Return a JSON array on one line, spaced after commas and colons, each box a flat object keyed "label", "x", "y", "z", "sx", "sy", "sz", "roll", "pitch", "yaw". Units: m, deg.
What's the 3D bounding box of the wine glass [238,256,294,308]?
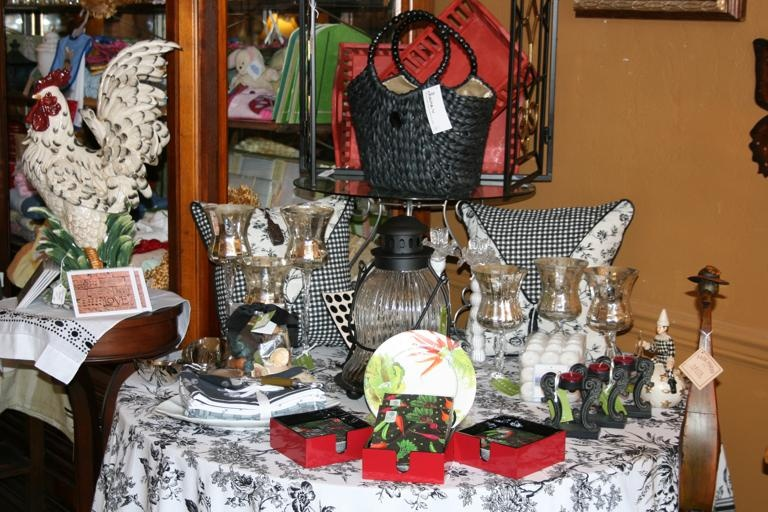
[{"label": "wine glass", "x": -0.371, "y": 0.072, "z": 2.446, "sx": 0.143, "sy": 0.130, "sz": 0.142, "roll": 3, "pitch": 1, "yaw": 14}]

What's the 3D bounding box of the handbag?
[{"label": "handbag", "x": 0.146, "y": -0.522, "z": 2.780, "sx": 0.631, "sy": 0.831, "sz": 0.352, "roll": 3, "pitch": 10, "yaw": 22}]

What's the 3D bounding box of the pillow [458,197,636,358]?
[{"label": "pillow", "x": 0.579, "y": 0.077, "z": 2.755, "sx": 0.537, "sy": 0.574, "sz": 0.199, "roll": 0, "pitch": -18, "yaw": 8}]

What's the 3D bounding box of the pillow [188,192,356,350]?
[{"label": "pillow", "x": -0.398, "y": 0.055, "z": 2.833, "sx": 0.575, "sy": 0.641, "sz": 0.199, "roll": -3, "pitch": -12, "yaw": -16}]

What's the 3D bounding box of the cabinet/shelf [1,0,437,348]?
[{"label": "cabinet/shelf", "x": -0.890, "y": -0.533, "z": 3.247, "sx": 1.630, "sy": 1.632, "sz": 0.411, "roll": 1, "pitch": 5, "yaw": -14}]

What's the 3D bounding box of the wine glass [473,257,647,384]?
[{"label": "wine glass", "x": 0.544, "y": 0.216, "z": 2.523, "sx": 0.345, "sy": 0.288, "sz": 0.124, "roll": 1, "pitch": 7, "yaw": 10}]
